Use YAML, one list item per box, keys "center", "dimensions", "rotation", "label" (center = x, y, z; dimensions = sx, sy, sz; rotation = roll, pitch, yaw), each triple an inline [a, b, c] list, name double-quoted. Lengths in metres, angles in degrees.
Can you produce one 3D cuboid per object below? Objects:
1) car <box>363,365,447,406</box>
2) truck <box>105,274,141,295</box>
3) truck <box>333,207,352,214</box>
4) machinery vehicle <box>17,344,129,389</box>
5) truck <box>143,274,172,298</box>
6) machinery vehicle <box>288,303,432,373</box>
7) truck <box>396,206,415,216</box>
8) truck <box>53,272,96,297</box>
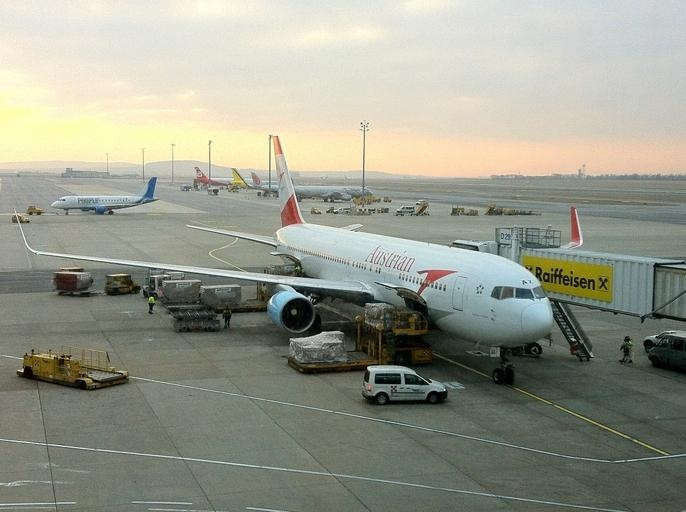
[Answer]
- center: [2.594, 5.649, 30.402]
  dimensions: [3.909, 0.945, 1.647]
  rotation: [-1, 3, -4]
  label: "car"
- center: [-16.700, 2.105, 52.153]
  dimensions: [1.759, 1.001, 2.533]
  rotation: [7, 9, 41]
  label: "truck"
- center: [-0.334, -8.149, 123.101]
  dimensions: [3.304, 0.950, 1.443]
  rotation: [3, 6, 8]
  label: "truck"
- center: [-12.657, 5.150, 32.466]
  dimensions: [4.667, 0.846, 2.866]
  rotation: [6, 4, 15]
  label: "machinery vehicle"
- center: [-13.632, 2.069, 50.669]
  dimensions: [2.209, 1.034, 2.512]
  rotation: [-1, 8, -23]
  label: "truck"
- center: [1.290, 4.111, 35.224]
  dimensions: [7.483, 1.924, 3.674]
  rotation: [-2, 4, -24]
  label: "machinery vehicle"
- center: [11.219, -7.877, 120.376]
  dimensions: [3.856, 1.214, 1.988]
  rotation: [1, 1, -6]
  label: "truck"
- center: [-20.081, 2.056, 51.038]
  dimensions: [2.834, 1.179, 2.551]
  rotation: [3, 2, 26]
  label: "truck"
